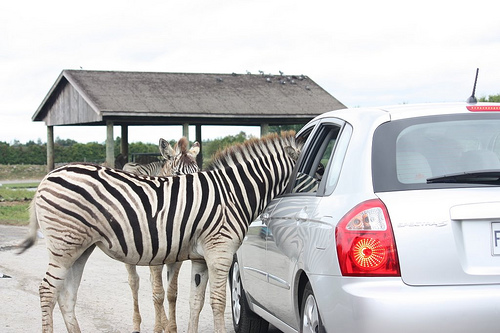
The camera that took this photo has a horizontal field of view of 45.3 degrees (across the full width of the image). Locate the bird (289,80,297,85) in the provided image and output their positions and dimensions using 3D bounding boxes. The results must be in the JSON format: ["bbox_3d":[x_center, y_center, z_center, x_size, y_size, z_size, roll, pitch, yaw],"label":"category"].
[{"bbox_3d":[1.942,-3.726,26.588,0.229,0.101,0.246,12,18,-13],"label":"bird"}]
